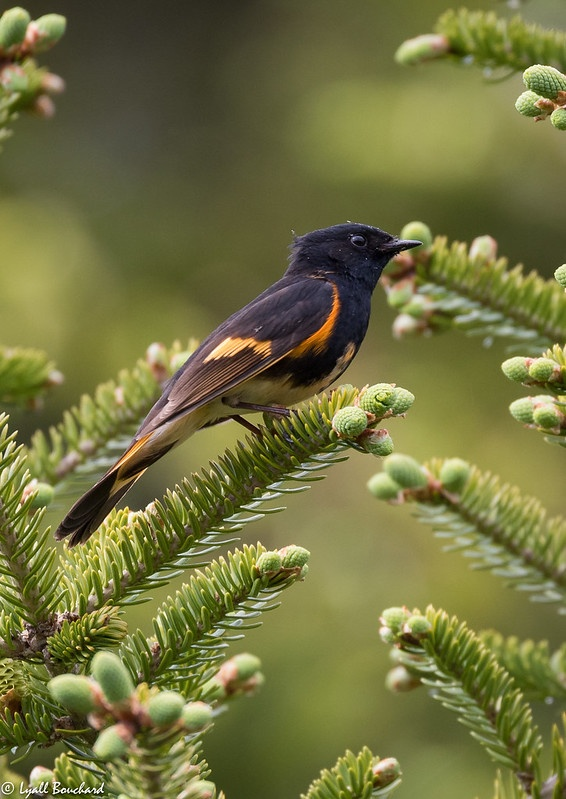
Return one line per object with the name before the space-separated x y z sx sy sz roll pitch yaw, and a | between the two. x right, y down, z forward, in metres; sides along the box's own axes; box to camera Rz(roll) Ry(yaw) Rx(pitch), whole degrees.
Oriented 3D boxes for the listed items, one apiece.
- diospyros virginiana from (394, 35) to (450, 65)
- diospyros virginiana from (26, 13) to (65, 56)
diospyros virginiana | 0.351 -0.896 2.477 0.155 0.066 0.083 -18 0 -32
diospyros virginiana | -0.543 -0.829 2.182 0.104 0.073 0.030 -41 33 27
